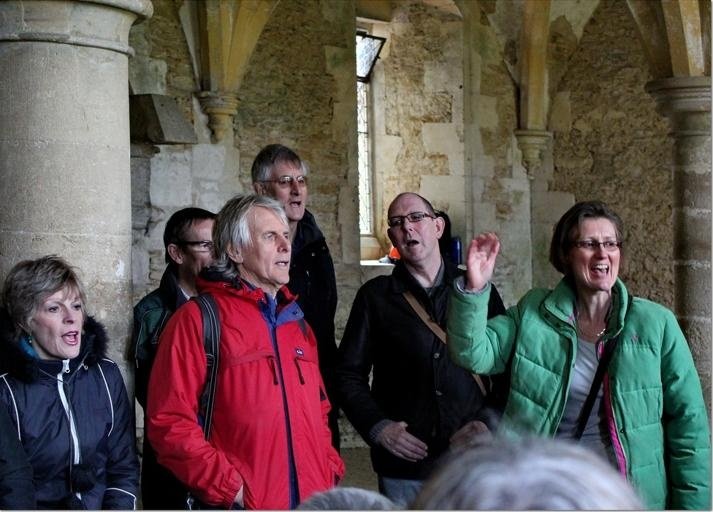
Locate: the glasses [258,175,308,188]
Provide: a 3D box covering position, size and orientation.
[{"bbox_3d":[-0.356,-0.360,3.873,0.103,0.033,0.107,-1,-10,-27],"label":"glasses"}]

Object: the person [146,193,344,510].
[{"bbox_3d":[-0.406,0.333,3.027,0.736,1.132,0.402,0,1,-15],"label":"person"}]

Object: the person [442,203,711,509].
[{"bbox_3d":[0.825,0.349,3.012,0.938,1.114,0.297,1,1,11],"label":"person"}]
